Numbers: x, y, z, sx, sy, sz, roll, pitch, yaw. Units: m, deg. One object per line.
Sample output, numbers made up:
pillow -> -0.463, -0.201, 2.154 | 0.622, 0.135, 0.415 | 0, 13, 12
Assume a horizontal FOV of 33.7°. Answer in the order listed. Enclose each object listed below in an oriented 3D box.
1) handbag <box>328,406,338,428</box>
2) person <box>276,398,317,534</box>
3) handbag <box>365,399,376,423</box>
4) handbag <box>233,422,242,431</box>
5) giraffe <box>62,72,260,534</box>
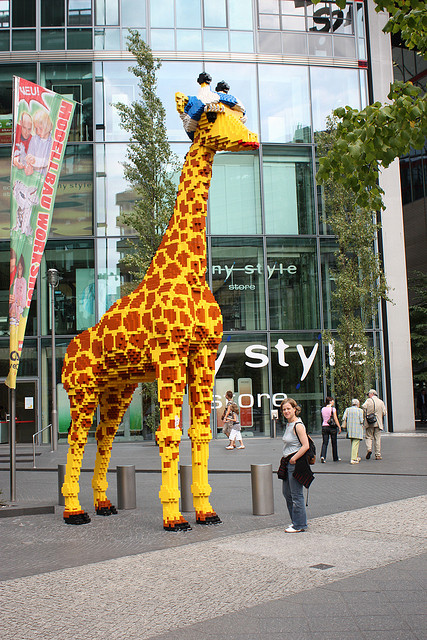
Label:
handbag -> 2.936, 2.415, 17.463 | 0.218, 0.494, 0.152 | -3, -4, -3
person -> 0.985, 1.725, 8.438 | 0.434, 1.521, 0.541 | -3, -4, 5
handbag -> 3.827, 2.256, 17.243 | 0.117, 0.532, 0.302 | 0, -5, -39
handbag -> 0.707, 3.374, 22.376 | 0.277, 0.336, 0.210 | 1, -2, 0
giraffe -> -0.695, -0.230, 9.309 | 2.843, 5.862, 1.011 | -6, -5, 39
